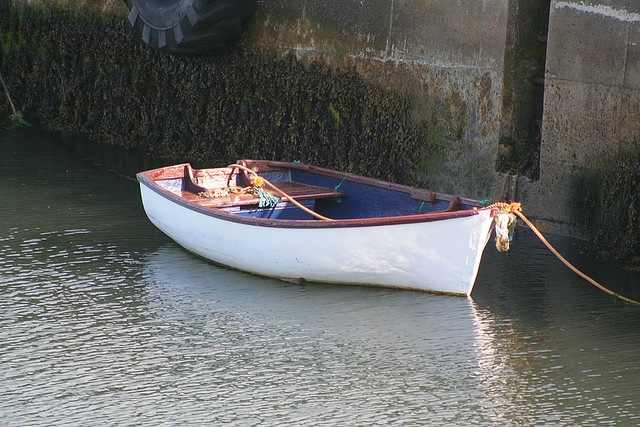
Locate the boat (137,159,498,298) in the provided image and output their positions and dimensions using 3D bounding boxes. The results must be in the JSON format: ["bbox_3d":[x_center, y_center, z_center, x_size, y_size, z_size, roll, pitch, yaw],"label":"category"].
[{"bbox_3d":[-0.134,0.146,14.076,3.872,0.956,1.834,13,18,36],"label":"boat"}]
